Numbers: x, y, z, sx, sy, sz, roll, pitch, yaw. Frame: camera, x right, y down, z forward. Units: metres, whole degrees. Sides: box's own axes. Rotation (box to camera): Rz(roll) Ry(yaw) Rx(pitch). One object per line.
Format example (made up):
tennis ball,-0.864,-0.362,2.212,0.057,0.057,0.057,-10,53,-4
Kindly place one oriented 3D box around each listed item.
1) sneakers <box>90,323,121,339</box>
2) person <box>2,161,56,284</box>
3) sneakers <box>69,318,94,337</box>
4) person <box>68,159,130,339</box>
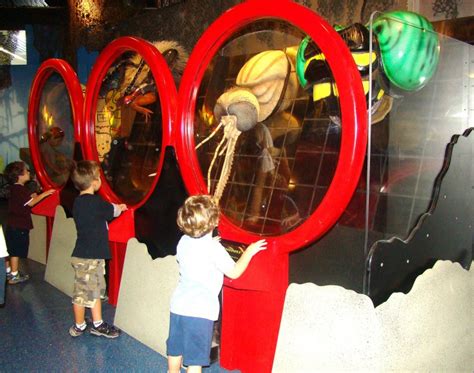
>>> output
sneakers,-0.841,0.919,2.480,0.180,0.098,0.089,2,0,3
person,-1.914,0.286,3.462,0.422,1.045,0.565,-12,13,-40
sneakers,-1.028,0.930,2.544,0.062,0.082,0.166,8,21,18
person,-0.931,0.400,2.466,0.333,1.119,0.230,-2,10,9
